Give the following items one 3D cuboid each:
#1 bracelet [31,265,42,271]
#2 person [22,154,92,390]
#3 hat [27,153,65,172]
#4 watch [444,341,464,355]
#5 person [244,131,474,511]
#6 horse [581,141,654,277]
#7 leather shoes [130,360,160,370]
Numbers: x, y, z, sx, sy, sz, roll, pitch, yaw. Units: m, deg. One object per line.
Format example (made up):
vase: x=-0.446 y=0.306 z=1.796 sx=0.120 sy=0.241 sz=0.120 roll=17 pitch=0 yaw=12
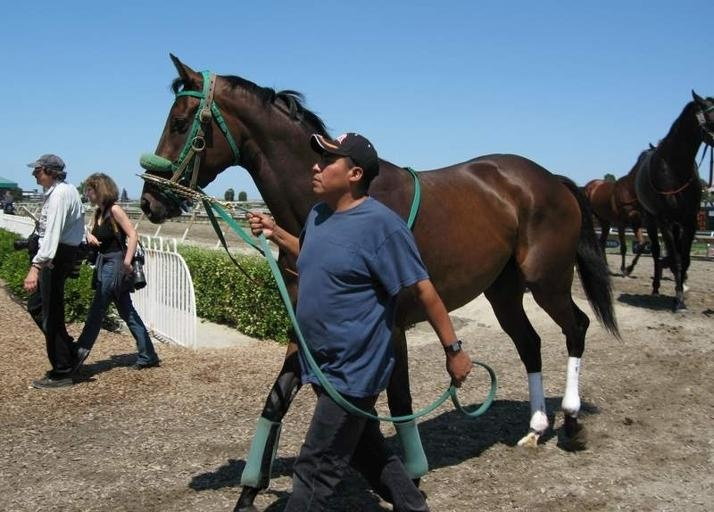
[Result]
bracelet: x=-3.270 y=0.108 z=5.195 sx=0.070 sy=0.020 sz=0.073 roll=35 pitch=-12 yaw=-27
person: x=-3.191 y=0.201 z=5.395 sx=0.530 sy=2.474 sz=0.542 roll=-1 pitch=8 yaw=-31
hat: x=-3.196 y=-0.955 z=5.254 sx=0.262 sy=0.155 sz=0.275 roll=-1 pitch=9 yaw=-26
watch: x=0.535 y=0.497 z=2.795 sx=0.082 sy=0.087 sz=0.079 roll=-10 pitch=-5 yaw=0
person: x=0.099 y=0.397 z=2.960 sx=0.971 sy=2.129 sz=0.649 roll=2 pitch=7 yaw=-9
horse: x=6.312 y=-0.946 z=12.228 sx=0.843 sy=2.684 sz=3.535 roll=-4 pitch=6 yaw=6
leather shoes: x=-2.613 y=1.338 z=6.279 sx=0.330 sy=0.139 sz=0.113 roll=7 pitch=-1 yaw=-28
